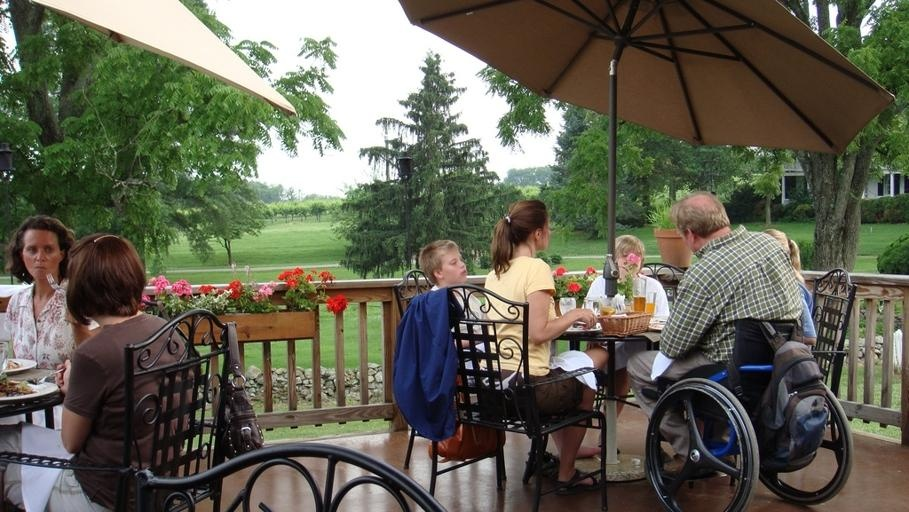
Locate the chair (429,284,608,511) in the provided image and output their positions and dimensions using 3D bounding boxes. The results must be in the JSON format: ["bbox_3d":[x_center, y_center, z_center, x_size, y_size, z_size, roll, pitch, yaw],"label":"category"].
[{"bbox_3d":[0.596,1.157,5.795,1.307,1.836,0.647,0,2,-7],"label":"chair"}]

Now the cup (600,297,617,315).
[{"bbox_3d":[1.301,0.430,6.001,0.162,0.148,0.132,-1,-2,23],"label":"cup"}]

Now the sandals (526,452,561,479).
[{"bbox_3d":[0.735,1.842,6.199,0.457,0.140,0.271,4,-10,-31],"label":"sandals"}]

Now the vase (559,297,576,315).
[{"bbox_3d":[0.970,0.419,6.027,0.142,0.142,0.136,2,-7,-24],"label":"vase"}]

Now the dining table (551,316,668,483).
[{"bbox_3d":[1.617,1.142,6.258,1.315,1.356,1.275,0,0,-3],"label":"dining table"}]

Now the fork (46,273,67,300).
[{"bbox_3d":[-3.206,0.246,5.682,0.298,0.041,0.042,39,-7,27],"label":"fork"}]

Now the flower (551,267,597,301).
[{"bbox_3d":[1.270,0.285,7.548,0.407,0.282,0.426,0,2,42],"label":"flower"}]

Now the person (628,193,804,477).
[{"bbox_3d":[2.298,0.656,6.172,1.505,2.236,1.216,-5,9,39],"label":"person"}]

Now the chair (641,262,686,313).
[{"bbox_3d":[2.037,0.306,6.946,0.308,0.436,0.464,-7,8,-25],"label":"chair"}]
